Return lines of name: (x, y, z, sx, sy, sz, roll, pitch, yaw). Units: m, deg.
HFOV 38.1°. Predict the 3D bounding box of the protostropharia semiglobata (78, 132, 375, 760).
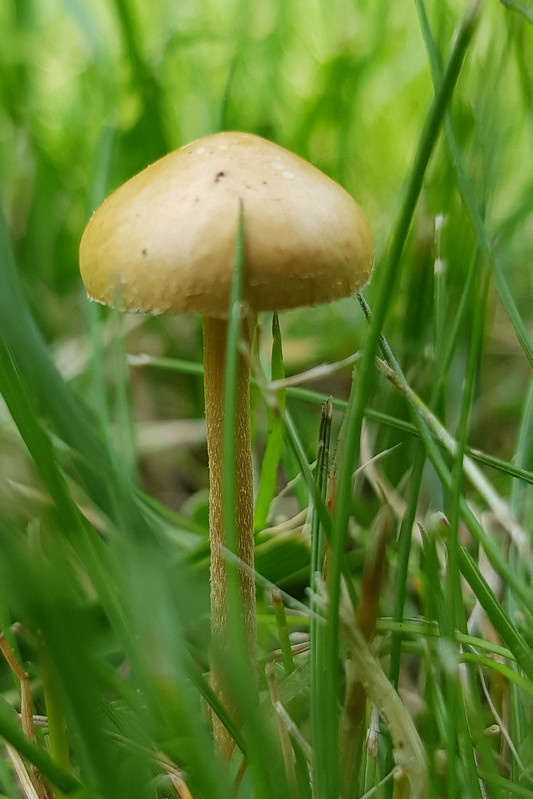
protostropharia semiglobata: (-0.033, 0.030, 0.618, 0.203, 0.491, 0.222, -2, 8, 32)
